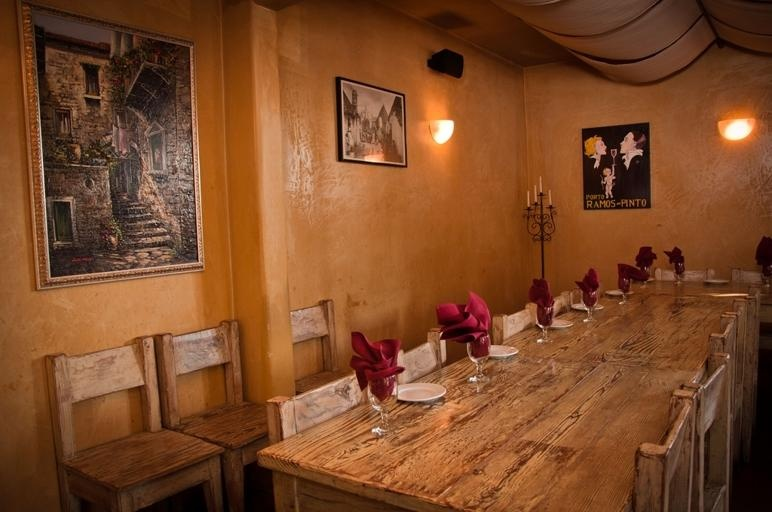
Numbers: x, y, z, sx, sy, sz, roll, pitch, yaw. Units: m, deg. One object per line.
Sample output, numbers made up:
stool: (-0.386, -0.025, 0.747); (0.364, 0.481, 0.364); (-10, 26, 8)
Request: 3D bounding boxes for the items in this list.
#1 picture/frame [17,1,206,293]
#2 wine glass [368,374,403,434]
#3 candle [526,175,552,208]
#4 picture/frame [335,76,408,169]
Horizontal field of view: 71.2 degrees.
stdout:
picture/frame: (-1.659, -0.654, 3.290); (1.087, 1.649, 0.205); (-13, 16, -39)
wine glass: (-0.016, 0.638, 2.434); (0.119, 0.260, 0.224); (-3, 12, -2)
candle: (1.885, -0.773, 6.629); (0.203, 0.376, 0.305); (-14, 16, -39)
picture/frame: (-0.152, -1.116, 4.523); (0.032, 0.665, 0.874); (-3, -3, 40)
